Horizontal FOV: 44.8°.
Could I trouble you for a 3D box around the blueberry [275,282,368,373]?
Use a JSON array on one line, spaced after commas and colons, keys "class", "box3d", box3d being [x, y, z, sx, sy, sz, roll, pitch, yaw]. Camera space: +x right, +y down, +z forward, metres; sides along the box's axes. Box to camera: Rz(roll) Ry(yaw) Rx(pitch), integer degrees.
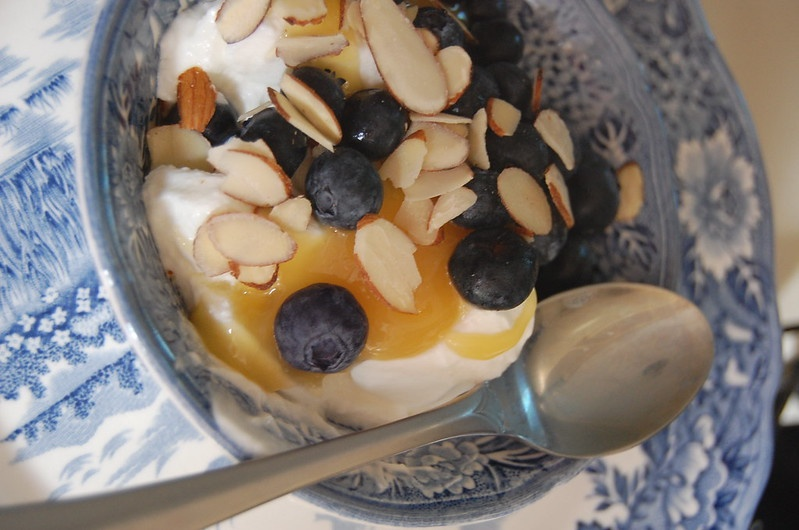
[{"class": "blueberry", "box3d": [-0.165, 0.116, 2.110, 0.172, 0.106, 0.195, 11, -2, 3]}]
